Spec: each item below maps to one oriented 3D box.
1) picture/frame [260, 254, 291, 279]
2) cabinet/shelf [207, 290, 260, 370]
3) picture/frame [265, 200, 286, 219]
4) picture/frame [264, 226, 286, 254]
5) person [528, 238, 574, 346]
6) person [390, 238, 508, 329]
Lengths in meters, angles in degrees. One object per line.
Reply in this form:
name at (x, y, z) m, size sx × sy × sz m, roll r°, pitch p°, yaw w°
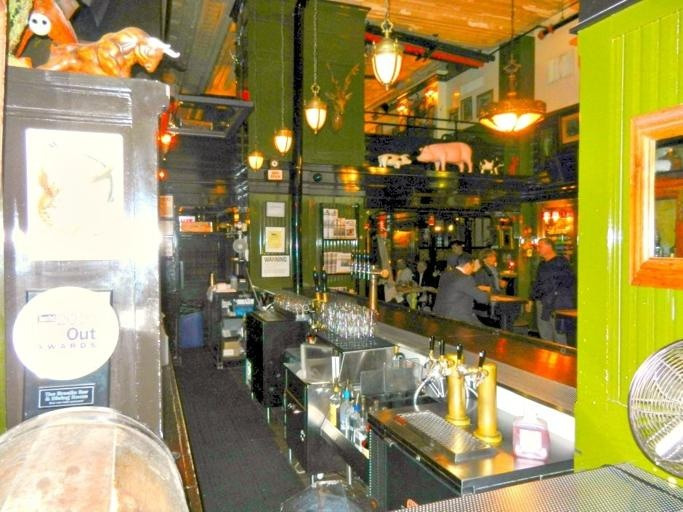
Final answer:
picture/frame at (-1.037, 0.177, 8.964) m, size 0.532 × 0.421 × 0.295 m, roll 0°, pitch 6°, yaw -20°
cabinet/shelf at (-1.603, 0.942, 8.175) m, size 0.750 × 1.051 × 1.024 m, roll -1°, pitch 4°, yaw -15°
picture/frame at (-1.041, -0.706, 9.005) m, size 0.373 × 0.324 × 0.205 m, roll 1°, pitch -3°, yaw -30°
picture/frame at (-1.062, -0.253, 8.944) m, size 0.401 × 0.518 × 0.038 m, roll -1°, pitch 1°, yaw -34°
person at (2.556, 0.446, 6.930) m, size 0.497 × 1.354 × 1.985 m, roll -3°, pitch 6°, yaw 21°
person at (1.606, 0.367, 8.424) m, size 0.953 × 1.774 × 0.742 m, roll -17°, pitch 26°, yaw -28°
